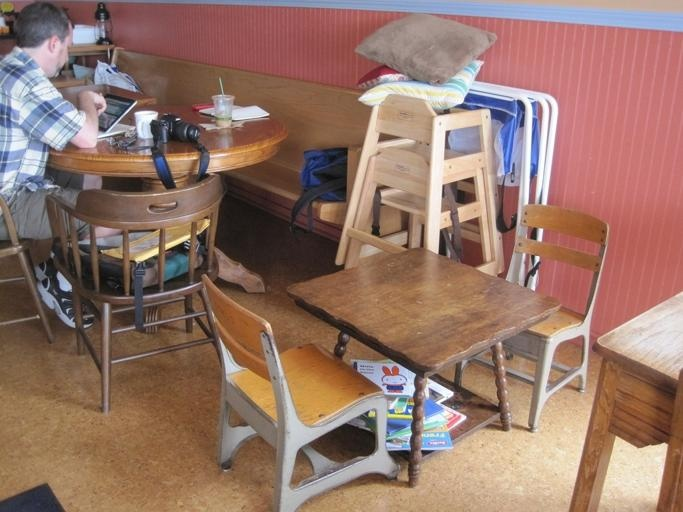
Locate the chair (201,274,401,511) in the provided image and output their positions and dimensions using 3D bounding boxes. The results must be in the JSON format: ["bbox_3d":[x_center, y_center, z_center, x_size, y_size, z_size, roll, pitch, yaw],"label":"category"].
[{"bbox_3d":[-0.144,0.551,2.138,0.611,0.757,0.457,-26,44,-27],"label":"chair"}]

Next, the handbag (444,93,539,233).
[{"bbox_3d":[0.752,-0.487,2.817,0.299,0.582,0.698,-6,13,-34],"label":"handbag"}]

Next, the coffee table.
[{"bbox_3d":[0.223,0.256,2.374,0.976,0.649,0.946,-22,37,-32],"label":"coffee table"}]

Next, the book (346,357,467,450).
[{"bbox_3d":[0.252,0.618,2.318,0.396,0.079,0.382,-13,25,-36],"label":"book"}]

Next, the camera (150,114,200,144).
[{"bbox_3d":[-0.786,-0.609,2.693,0.201,0.096,0.151,18,25,29],"label":"camera"}]

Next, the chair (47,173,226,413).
[{"bbox_3d":[-0.931,0.194,2.551,0.835,1.037,0.734,-14,45,-31],"label":"chair"}]

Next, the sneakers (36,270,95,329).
[{"bbox_3d":[-1.357,0.205,2.796,0.111,0.318,0.133,-40,9,-37],"label":"sneakers"}]

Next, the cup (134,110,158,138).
[{"bbox_3d":[-0.928,-0.658,2.793,0.138,0.129,0.133,7,21,-3],"label":"cup"}]
